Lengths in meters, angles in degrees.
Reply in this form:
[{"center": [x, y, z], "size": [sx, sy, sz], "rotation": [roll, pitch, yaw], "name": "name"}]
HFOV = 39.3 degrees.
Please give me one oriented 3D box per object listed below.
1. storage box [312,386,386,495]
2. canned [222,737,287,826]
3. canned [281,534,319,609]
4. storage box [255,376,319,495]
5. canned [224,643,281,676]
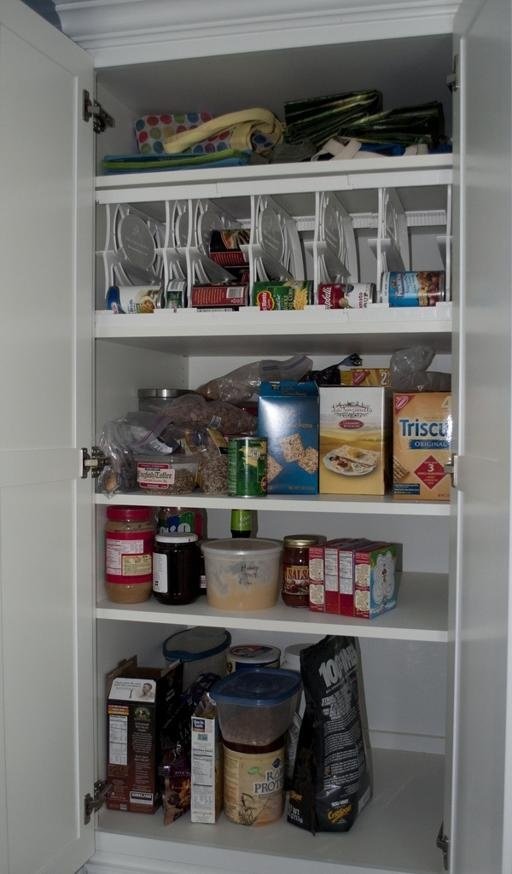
[{"center": [0.161, 0.014, 1.393], "size": [0.120, 0.239, 0.137], "rotation": [2, 1, -17], "name": "storage box"}, {"center": [-0.005, 0.656, 1.415], "size": [0.128, 0.155, 0.135], "rotation": [1, 3, 15], "name": "canned"}, {"center": [0.067, 0.275, 1.415], "size": [0.080, 0.137, 0.083], "rotation": [3, -6, 11], "name": "canned"}, {"center": [0.069, -0.009, 1.413], "size": [0.123, 0.234, 0.129], "rotation": [1, 12, 14], "name": "storage box"}, {"center": [-0.004, 0.459, 1.547], "size": [0.071, 0.084, 0.071], "rotation": [3, 3, 37], "name": "canned"}]
